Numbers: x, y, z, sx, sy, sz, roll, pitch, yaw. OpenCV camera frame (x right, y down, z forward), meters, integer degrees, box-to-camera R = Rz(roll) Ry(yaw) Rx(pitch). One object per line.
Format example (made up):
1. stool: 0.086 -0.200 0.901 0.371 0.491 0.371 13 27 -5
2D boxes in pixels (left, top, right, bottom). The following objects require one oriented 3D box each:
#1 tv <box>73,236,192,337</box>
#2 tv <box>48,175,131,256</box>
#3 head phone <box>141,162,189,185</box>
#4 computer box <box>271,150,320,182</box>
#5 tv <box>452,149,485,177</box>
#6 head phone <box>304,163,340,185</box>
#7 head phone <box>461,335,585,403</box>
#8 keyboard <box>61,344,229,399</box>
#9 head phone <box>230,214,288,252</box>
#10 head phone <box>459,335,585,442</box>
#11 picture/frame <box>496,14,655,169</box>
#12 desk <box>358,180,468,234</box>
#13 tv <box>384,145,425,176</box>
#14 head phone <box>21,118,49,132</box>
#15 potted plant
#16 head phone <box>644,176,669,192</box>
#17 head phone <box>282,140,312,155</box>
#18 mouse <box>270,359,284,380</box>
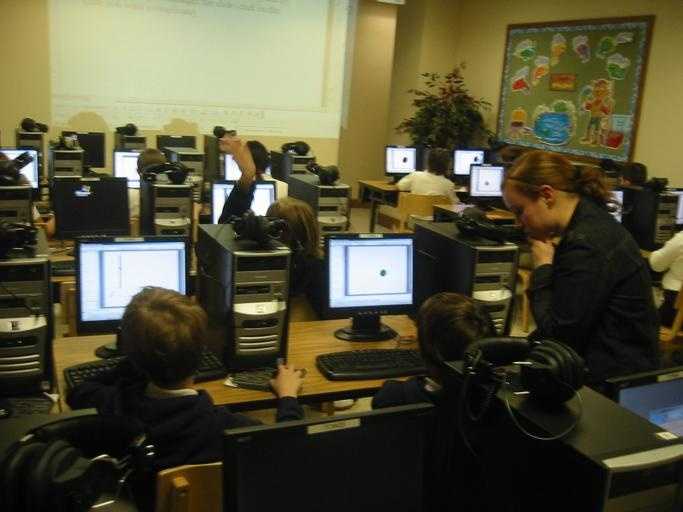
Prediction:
1. tv: -0.735 0.101 2.053 0.443 0.325 0.043 -1 4 -19
2. tv: -1.477 -0.239 3.486 0.576 0.457 0.306 -2 6 -21
3. head phone: -1.161 -0.546 3.874 0.252 0.102 0.170 -4 17 -13
4. computer box: -0.487 -0.933 6.161 0.405 0.449 0.692 -4 15 -21
5. tv: 1.583 -1.142 7.335 0.540 0.383 0.249 -1 19 -8
6. head phone: -0.147 -0.661 4.850 0.185 0.119 0.300 15 9 -36
7. head phone: 0.352 0.210 1.144 0.171 0.059 0.150 8 10 15
8. keyboard: -0.664 0.402 2.112 0.588 0.060 0.280 -6 17 -22
9. head phone: -0.294 -0.096 2.151 0.189 0.126 0.147 -4 12 -19
10. head phone: 0.317 0.238 1.147 0.247 0.080 0.206 -1 14 36
11. picture/frame: 2.833 -2.089 7.349 0.136 1.778 2.112 -7 13 -25
12. desk: 0.593 -0.432 6.206 0.854 0.519 0.641 4 13 -38
13. tv: 0.844 -1.246 7.857 0.705 0.511 0.210 -2 8 -20
14. head phone: -3.208 -1.334 6.172 0.278 0.111 0.195 6 2 -34
15. potted plant: 1.442 -1.805 8.359 1.130 1.166 0.922 2 -8 3
16. head phone: 2.669 -0.586 4.936 0.192 0.071 0.132 -6 19 -28
17. head phone: -0.470 -1.092 6.137 0.358 0.163 0.154 14 25 32
18. mouse: -0.227 0.407 2.132 0.020 0.059 0.046 30 -13 -22
